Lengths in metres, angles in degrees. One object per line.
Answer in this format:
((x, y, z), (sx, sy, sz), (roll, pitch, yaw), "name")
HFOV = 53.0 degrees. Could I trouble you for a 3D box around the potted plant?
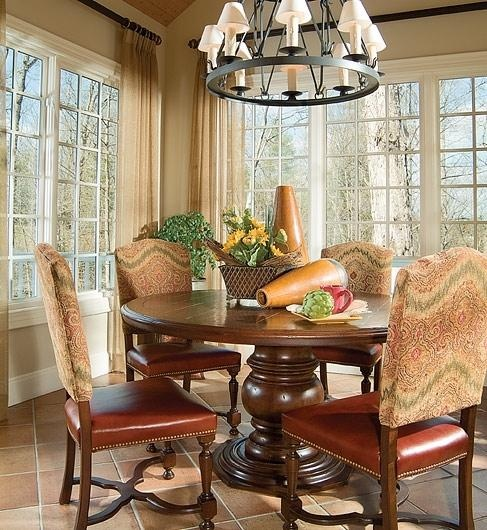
((-0.586, -0.148, 3.986), (0.649, 0.755, 0.645), (0, 6, 10), "potted plant")
